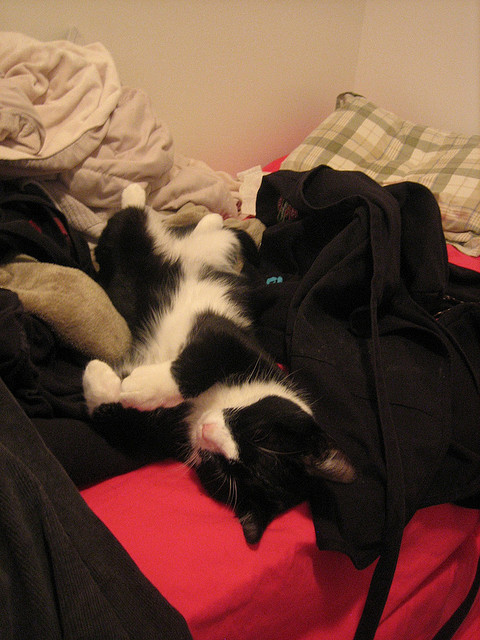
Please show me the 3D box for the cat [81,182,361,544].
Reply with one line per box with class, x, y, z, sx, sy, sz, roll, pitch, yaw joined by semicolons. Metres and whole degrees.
cat;-0.046;0.059;1.035;0.355;0.555;0.199;-27;-21;13
